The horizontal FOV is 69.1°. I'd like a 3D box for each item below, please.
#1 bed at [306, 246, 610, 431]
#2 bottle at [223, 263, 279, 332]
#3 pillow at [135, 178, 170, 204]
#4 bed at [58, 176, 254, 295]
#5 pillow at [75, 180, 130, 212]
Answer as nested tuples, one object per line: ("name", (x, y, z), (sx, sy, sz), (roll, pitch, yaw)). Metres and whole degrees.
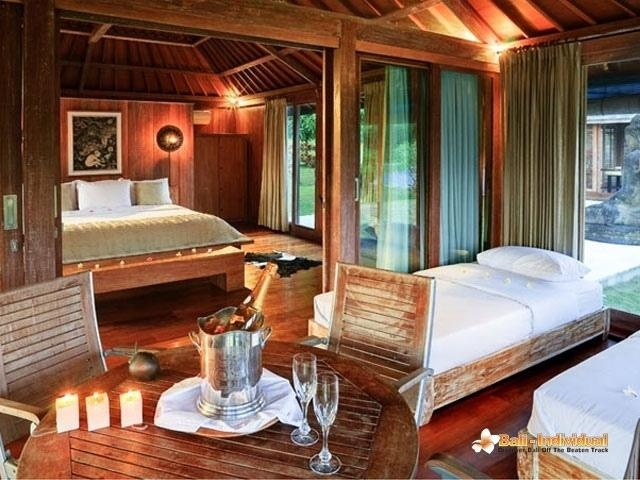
("bed", (1.269, 0.606, 3.565), (2.145, 0.584, 1.160), (-4, 7, -31))
("bottle", (-0.228, 0.185, 1.600), (0.139, 0.207, 0.239), (8, 13, 24))
("pillow", (-2.576, -0.713, 7.022), (0.480, 0.366, 0.128), (-8, -11, -40))
("bed", (-2.197, -0.148, 6.008), (2.025, 1.103, 3.285), (-4, 12, -27))
("pillow", (-3.025, -0.621, 6.569), (0.791, 0.365, 0.171), (-7, -11, -2))
